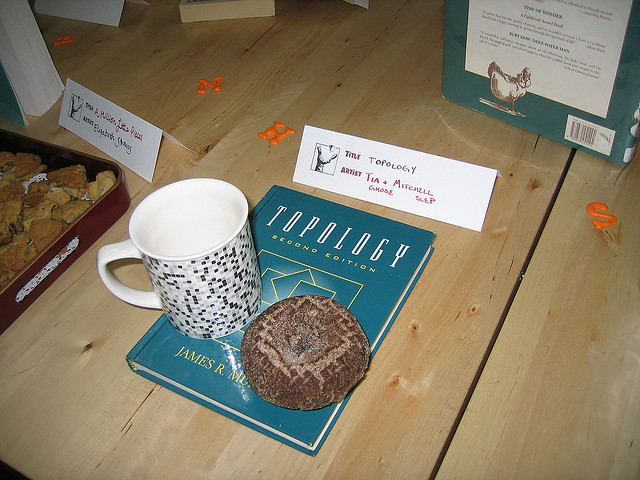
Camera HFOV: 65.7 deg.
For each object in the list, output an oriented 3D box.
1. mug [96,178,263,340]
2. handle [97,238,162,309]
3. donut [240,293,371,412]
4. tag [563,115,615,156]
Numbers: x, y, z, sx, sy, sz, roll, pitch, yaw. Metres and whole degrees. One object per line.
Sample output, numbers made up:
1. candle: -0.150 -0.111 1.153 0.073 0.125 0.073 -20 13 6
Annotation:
1. mug: -0.152 0.014 0.658 0.174 0.185 0.212 -18 42 -25
2. handle: -0.241 0.066 0.639 0.099 0.099 0.055 18 26 40
3. donut: -0.018 0.126 0.557 0.130 0.045 0.127 -37 65 -24
4. tag: 0.411 -0.158 0.755 0.080 0.055 0.016 30 44 23
